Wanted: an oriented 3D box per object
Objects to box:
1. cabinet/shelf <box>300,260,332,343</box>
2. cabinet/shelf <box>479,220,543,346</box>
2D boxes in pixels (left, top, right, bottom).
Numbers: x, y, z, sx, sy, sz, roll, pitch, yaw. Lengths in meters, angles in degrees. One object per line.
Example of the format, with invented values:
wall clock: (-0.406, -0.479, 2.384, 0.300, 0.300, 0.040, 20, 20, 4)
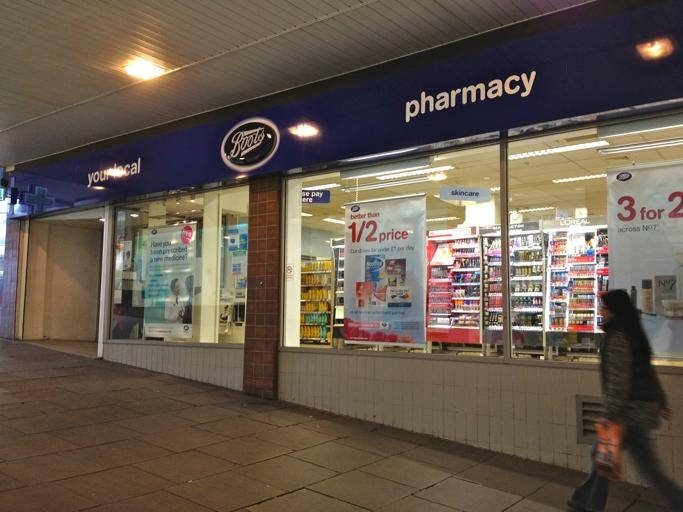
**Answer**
cabinet/shelf: (-0.379, 0.694, 8.163, 0.442, 1.323, 0.948, 4, 0, -26)
cabinet/shelf: (2.203, 0.331, 6.724, 0.838, 1.482, 0.759, 4, 0, 18)
